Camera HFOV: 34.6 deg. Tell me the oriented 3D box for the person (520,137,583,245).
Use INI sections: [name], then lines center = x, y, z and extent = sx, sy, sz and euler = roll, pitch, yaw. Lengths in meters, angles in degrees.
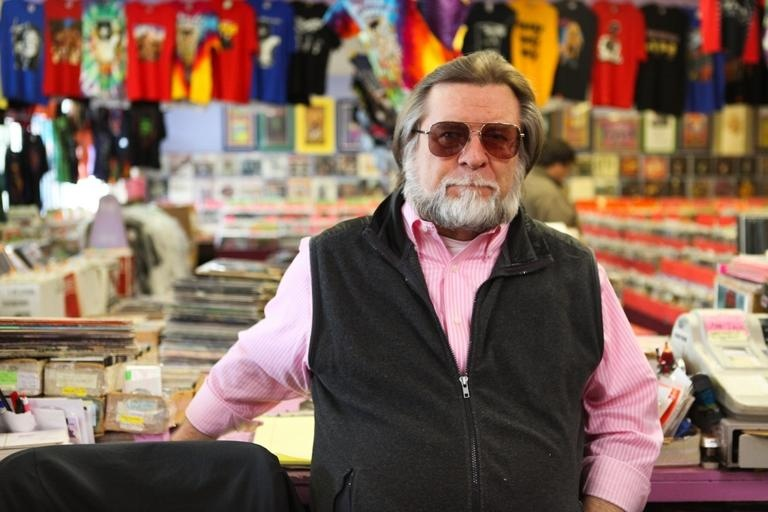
[person]
center = 1.318, -0.559, 9.639
extent = 0.437, 1.224, 0.442
euler = -3, 19, -12
